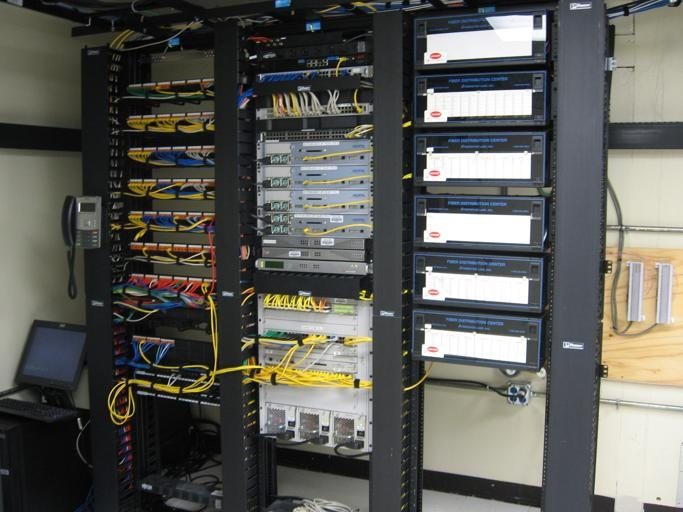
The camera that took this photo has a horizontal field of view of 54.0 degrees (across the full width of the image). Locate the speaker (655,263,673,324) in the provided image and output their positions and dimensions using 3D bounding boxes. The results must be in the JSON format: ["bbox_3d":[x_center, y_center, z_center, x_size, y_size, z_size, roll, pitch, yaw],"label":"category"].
[{"bbox_3d":[1.917,0.214,4.005,0.093,0.358,0.056,2,-4,23],"label":"speaker"}]

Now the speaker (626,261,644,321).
[{"bbox_3d":[1.769,0.213,4.060,0.094,0.366,0.103,2,-4,21],"label":"speaker"}]

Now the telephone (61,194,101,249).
[{"bbox_3d":[-1.555,-0.214,4.059,0.231,0.316,0.162,4,-3,-11],"label":"telephone"}]
